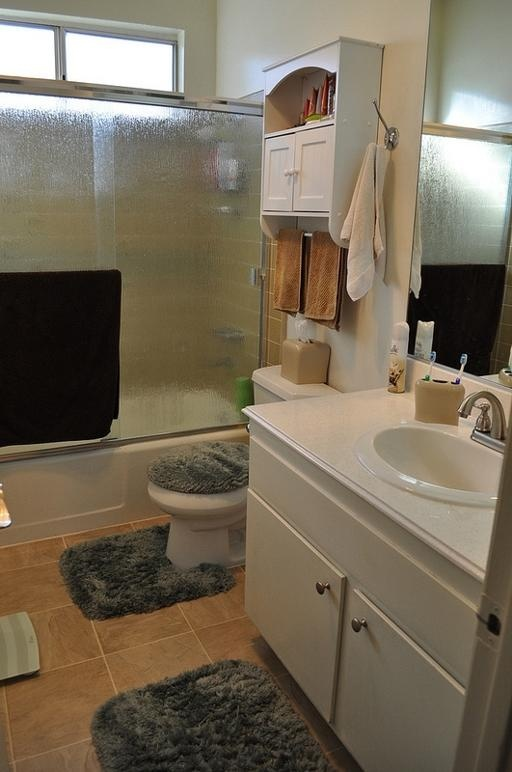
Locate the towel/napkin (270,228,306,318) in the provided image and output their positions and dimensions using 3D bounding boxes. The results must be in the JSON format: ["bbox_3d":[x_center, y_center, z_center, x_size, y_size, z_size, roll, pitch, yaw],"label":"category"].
[{"bbox_3d":[0.142,-0.467,2.185,0.030,0.324,0.155,-4,10,-44],"label":"towel/napkin"}]

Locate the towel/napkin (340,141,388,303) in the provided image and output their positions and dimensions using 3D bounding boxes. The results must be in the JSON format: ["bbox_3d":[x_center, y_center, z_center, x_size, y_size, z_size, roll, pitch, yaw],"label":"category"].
[{"bbox_3d":[0.344,-0.507,1.679,0.146,0.460,0.115,2,10,11],"label":"towel/napkin"}]

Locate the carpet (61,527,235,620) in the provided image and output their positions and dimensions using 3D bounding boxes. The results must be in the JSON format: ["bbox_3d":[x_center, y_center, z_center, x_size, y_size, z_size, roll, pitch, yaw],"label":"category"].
[{"bbox_3d":[-0.429,0.699,2.034,0.593,0.053,0.517,-5,14,-24],"label":"carpet"}]

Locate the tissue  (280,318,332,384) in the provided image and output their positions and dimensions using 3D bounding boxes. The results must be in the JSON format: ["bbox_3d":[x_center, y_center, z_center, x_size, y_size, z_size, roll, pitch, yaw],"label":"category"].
[{"bbox_3d":[0.195,-0.156,2.213,0.112,0.281,0.147,-7,16,-25],"label":"tissue "}]

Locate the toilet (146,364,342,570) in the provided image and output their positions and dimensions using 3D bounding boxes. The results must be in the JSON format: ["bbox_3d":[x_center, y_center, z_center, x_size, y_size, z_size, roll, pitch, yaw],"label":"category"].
[{"bbox_3d":[-0.133,0.353,2.124,0.608,0.738,0.390,-5,26,-31],"label":"toilet"}]

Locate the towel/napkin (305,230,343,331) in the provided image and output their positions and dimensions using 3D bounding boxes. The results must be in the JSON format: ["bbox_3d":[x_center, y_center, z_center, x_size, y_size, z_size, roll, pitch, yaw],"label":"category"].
[{"bbox_3d":[0.257,-0.402,1.990,0.145,0.321,0.029,10,14,31],"label":"towel/napkin"}]

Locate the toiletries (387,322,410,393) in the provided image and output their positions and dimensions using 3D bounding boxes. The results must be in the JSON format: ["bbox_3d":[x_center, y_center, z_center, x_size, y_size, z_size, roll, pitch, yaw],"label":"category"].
[{"bbox_3d":[0.437,-0.085,1.633,0.059,0.219,0.065,5,8,20],"label":"toiletries"}]
